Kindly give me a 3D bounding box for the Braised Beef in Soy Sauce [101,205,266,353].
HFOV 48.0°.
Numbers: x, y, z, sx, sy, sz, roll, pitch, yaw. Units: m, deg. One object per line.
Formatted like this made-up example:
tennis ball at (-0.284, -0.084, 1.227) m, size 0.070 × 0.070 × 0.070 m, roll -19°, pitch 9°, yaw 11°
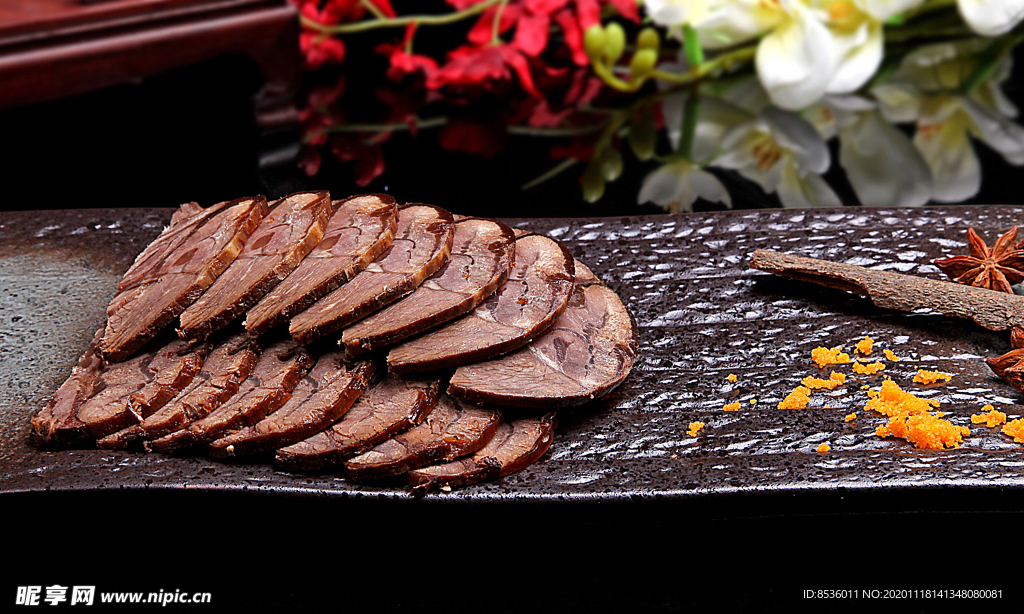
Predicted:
Braised Beef in Soy Sauce at (-1.237, -0.164, 4.564) m, size 0.600 × 0.085 × 0.924 m, roll -20°, pitch 27°, yaw -4°
